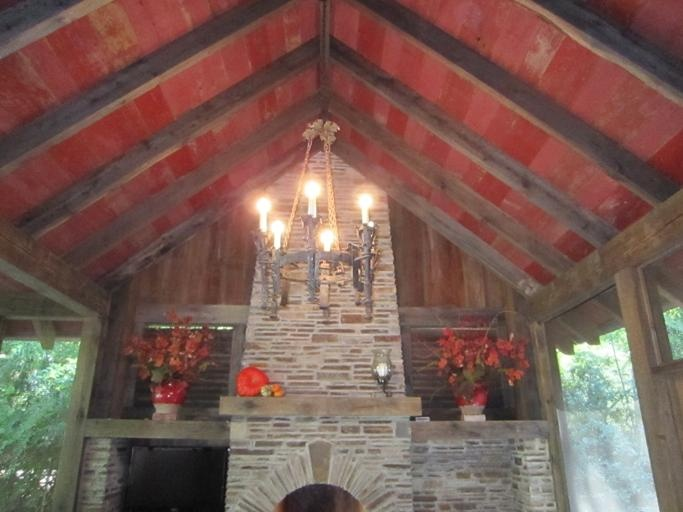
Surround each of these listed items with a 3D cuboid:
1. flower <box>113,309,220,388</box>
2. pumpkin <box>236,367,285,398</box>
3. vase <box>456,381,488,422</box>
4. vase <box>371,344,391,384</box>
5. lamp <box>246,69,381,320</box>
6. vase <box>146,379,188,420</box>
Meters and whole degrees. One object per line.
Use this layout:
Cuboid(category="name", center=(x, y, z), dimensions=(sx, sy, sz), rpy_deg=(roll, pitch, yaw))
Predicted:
Cuboid(category="flower", center=(-2.093, 1.177, 6.640), dimensions=(0.729, 0.762, 0.657), rpy_deg=(0, 1, 4))
Cuboid(category="pumpkin", center=(-0.919, 1.396, 6.092), dimensions=(0.519, 0.349, 0.157), rpy_deg=(1, -26, 0))
Cuboid(category="vase", center=(1.566, 1.732, 6.572), dimensions=(0.387, 0.465, 0.405), rpy_deg=(7, -13, -23))
Cuboid(category="vase", center=(0.453, 1.237, 6.230), dimensions=(0.223, 0.346, 0.203), rpy_deg=(2, -14, 5))
Cuboid(category="lamp", center=(-0.233, -0.576, 5.177), dimensions=(1.105, 2.085, 1.136), rpy_deg=(3, -12, -16))
Cuboid(category="vase", center=(-2.085, 1.680, 6.537), dimensions=(0.415, 0.503, 0.445), rpy_deg=(2, 0, 1))
